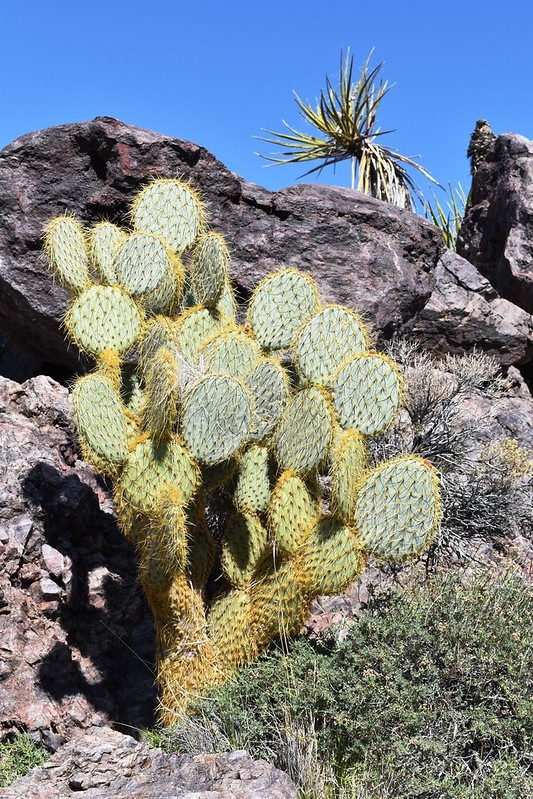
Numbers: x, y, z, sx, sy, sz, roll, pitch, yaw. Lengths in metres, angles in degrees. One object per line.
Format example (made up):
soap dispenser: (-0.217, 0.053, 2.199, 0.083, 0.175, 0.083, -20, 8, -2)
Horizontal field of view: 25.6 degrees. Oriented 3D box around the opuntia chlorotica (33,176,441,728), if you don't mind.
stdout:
opuntia chlorotica: (-0.177, 0.295, 6.602, 2.302, 2.926, 1.328, 9, 15, 30)
